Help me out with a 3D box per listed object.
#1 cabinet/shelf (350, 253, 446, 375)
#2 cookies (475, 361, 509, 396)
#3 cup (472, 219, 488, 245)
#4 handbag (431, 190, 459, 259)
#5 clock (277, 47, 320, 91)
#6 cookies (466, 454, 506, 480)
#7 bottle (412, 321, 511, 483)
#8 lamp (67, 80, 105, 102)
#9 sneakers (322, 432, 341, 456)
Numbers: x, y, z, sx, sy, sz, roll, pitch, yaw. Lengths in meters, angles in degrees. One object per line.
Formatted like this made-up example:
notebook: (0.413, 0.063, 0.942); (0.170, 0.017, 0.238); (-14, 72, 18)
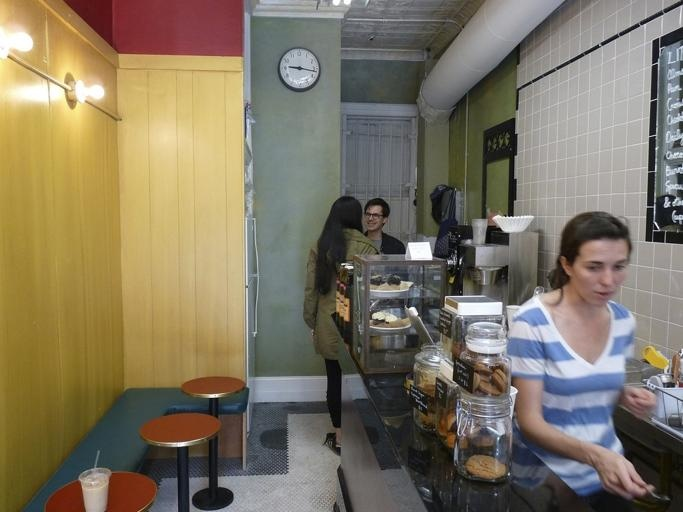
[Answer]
cabinet/shelf: (0.216, 0.253, 2.615); (0.463, 0.699, 0.473); (1, 0, -5)
cookies: (0.469, 0.387, 1.641); (0.093, 0.101, 0.099); (2, 5, 11)
cup: (1.069, -0.193, 4.081); (0.102, 0.198, 0.175); (2, 10, 12)
handbag: (1.082, -0.376, 5.572); (0.308, 0.724, 1.523); (2, 10, 10)
clock: (-0.401, -1.744, 4.840); (0.355, 0.405, 0.063); (1, 1, -3)
cookies: (0.466, 0.669, 1.672); (0.098, 0.030, 0.072); (7, 1, -11)
bottle: (0.456, 0.473, 1.691); (0.189, 0.489, 0.111); (3, 9, 13)
lamp: (-1.577, -1.021, 3.231); (0.126, 0.140, 0.232); (-1, 15, 16)
sneakers: (-0.080, 1.490, 4.148); (0.075, 0.104, 0.232); (2, -12, -18)
